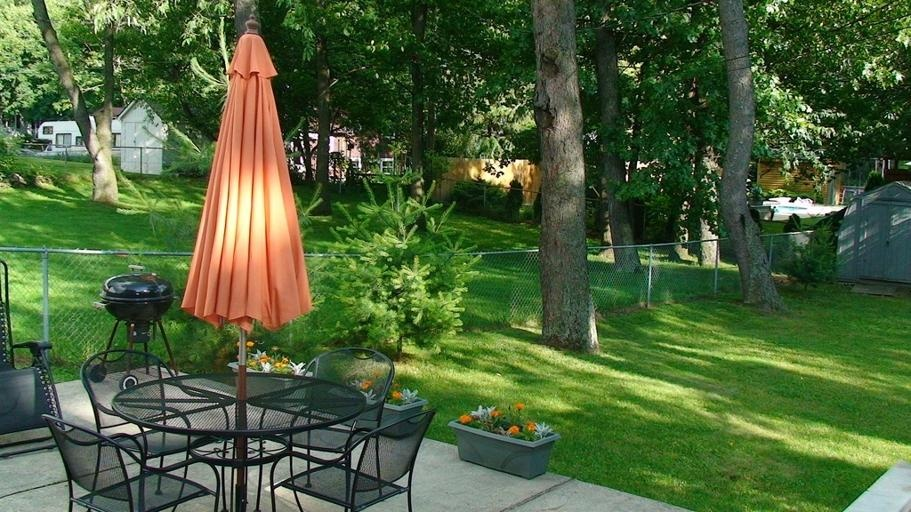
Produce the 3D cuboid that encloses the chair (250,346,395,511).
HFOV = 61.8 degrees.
[{"bbox_3d":[-2.157,2.852,14.966,1.944,2.791,2.196,3,-4,26],"label":"chair"}]

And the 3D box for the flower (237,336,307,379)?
[{"bbox_3d":[-4.040,2.326,16.574,1.372,0.566,0.966,6,5,21],"label":"flower"}]

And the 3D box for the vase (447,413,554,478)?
[{"bbox_3d":[0.970,3.881,15.183,1.991,1.034,0.360,1,5,11],"label":"vase"}]

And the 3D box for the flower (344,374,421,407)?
[{"bbox_3d":[-1.413,2.870,15.827,1.061,0.303,0.736,9,10,29],"label":"flower"}]

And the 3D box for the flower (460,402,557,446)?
[{"bbox_3d":[1.037,3.406,15.356,1.608,0.568,0.997,6,2,24],"label":"flower"}]
